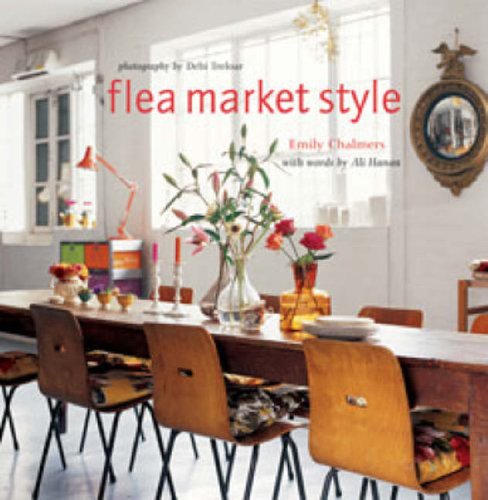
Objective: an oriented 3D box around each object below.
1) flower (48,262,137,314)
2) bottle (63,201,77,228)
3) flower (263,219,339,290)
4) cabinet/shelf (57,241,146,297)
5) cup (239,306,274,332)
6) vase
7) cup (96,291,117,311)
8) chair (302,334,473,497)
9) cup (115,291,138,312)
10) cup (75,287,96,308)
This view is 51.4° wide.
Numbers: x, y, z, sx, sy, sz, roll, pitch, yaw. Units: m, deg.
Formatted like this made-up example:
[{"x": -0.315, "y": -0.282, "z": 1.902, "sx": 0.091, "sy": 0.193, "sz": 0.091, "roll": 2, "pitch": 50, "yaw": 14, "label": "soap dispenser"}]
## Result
[{"x": -0.824, "y": 0.201, "z": 2.795, "sx": 0.556, "sy": 0.208, "sz": 0.238, "roll": 3, "pitch": -2, "yaw": 29, "label": "flower"}, {"x": -1.957, "y": -0.417, "z": 5.713, "sx": 0.139, "sy": 0.313, "sz": 0.402, "roll": -2, "pitch": 3, "yaw": -19, "label": "bottle"}, {"x": 0.213, "y": 0.017, "z": 1.851, "sx": 0.276, "sy": 0.251, "sz": 0.240, "roll": -7, "pitch": 11, "yaw": -10, "label": "flower"}, {"x": -1.426, "y": 0.231, "z": 5.011, "sx": 0.750, "sy": 0.655, "sz": 0.471, "roll": 3, "pitch": 1, "yaw": 37, "label": "cabinet/shelf"}, {"x": 0.055, "y": 0.254, "z": 1.855, "sx": 0.106, "sy": 0.063, "sz": 0.073, "roll": 0, "pitch": -6, "yaw": 2, "label": "cup"}, {"x": 0.210, "y": 0.194, "z": 1.752, "sx": 0.168, "sy": 0.131, "sz": 0.162, "roll": 0, "pitch": -5, "yaw": 0, "label": "vase"}, {"x": -0.721, "y": 0.265, "z": 2.671, "sx": 0.105, "sy": 0.093, "sz": 0.094, "roll": 2, "pitch": -11, "yaw": -9, "label": "cup"}, {"x": 0.372, "y": 0.389, "z": 1.480, "sx": 0.454, "sy": 0.509, "sz": 0.443, "roll": -2, "pitch": 2, "yaw": -44, "label": "chair"}, {"x": -0.603, "y": 0.261, "z": 2.593, "sx": 0.106, "sy": 0.076, "sz": 0.086, "roll": 1, "pitch": -9, "yaw": 2, "label": "cup"}, {"x": -0.841, "y": 0.255, "z": 2.736, "sx": 0.103, "sy": 0.093, "sz": 0.104, "roll": 1, "pitch": -5, "yaw": 0, "label": "cup"}]
